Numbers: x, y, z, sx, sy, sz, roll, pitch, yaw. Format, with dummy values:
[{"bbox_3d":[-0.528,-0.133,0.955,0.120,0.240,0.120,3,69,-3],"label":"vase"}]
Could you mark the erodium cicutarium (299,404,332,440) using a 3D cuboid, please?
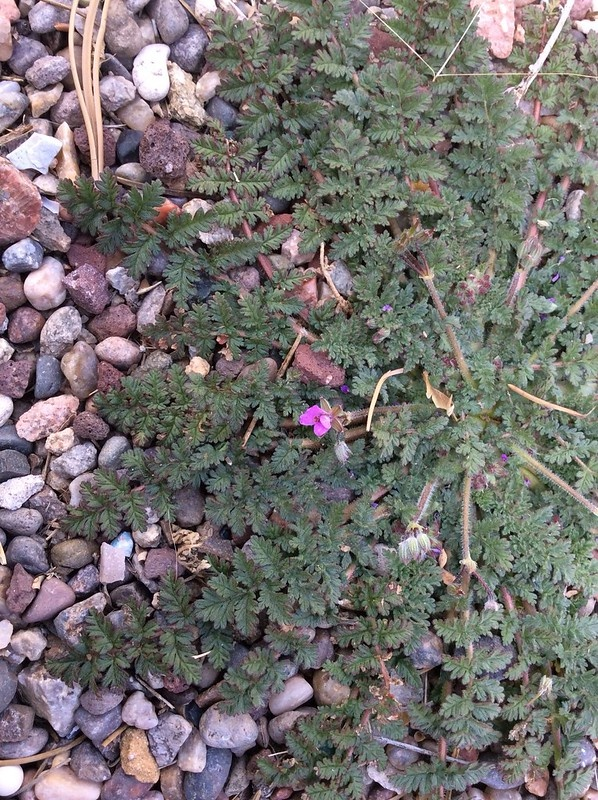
[{"bbox_3d":[0.060,0.074,2.324,0.109,0.064,0.094,31,96,-3],"label":"erodium cicutarium"}]
